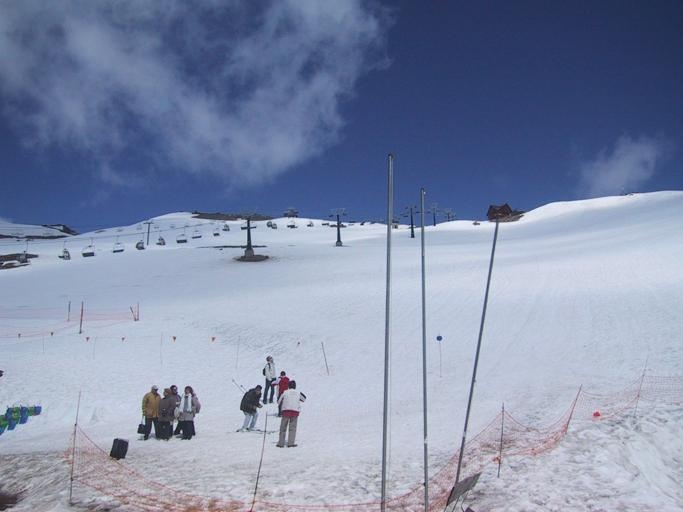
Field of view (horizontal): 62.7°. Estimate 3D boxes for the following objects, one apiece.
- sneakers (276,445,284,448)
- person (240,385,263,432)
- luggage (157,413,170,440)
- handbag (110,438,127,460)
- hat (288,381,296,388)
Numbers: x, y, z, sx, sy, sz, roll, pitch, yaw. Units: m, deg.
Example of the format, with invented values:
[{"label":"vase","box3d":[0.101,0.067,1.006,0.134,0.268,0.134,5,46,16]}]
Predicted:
[{"label":"sneakers","box3d":[-2.461,7.433,21.946,0.236,0.108,0.089,5,-2,21]},{"label":"person","box3d":[-3.891,6.262,23.520,0.886,1.952,1.159,-2,11,-11]},{"label":"luggage","box3d":[-7.162,6.814,22.323,0.489,0.960,0.273,-4,11,-21]},{"label":"handbag","box3d":[-8.338,7.110,20.791,0.641,0.752,0.445,-5,12,-22]},{"label":"hat","box3d":[-1.964,5.057,22.026,0.295,0.404,0.397,1,1,-2]}]
